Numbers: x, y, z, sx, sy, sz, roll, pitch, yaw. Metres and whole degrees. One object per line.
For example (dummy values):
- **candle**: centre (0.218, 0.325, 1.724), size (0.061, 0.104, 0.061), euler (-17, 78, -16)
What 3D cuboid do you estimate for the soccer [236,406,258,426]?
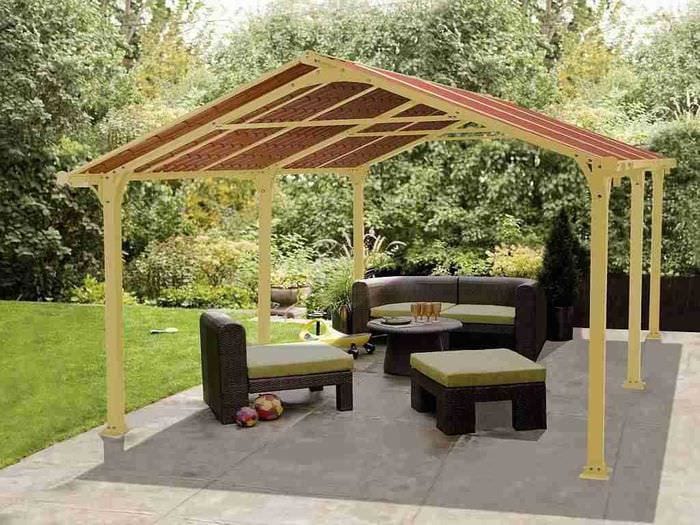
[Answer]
- **soccer**: centre (-1.050, 1.549, 6.559), size (0.221, 0.176, 0.175), euler (-1, 7, -10)

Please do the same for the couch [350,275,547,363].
- **couch**: centre (1.620, 0.662, 9.744), size (3.138, 1.125, 1.524), euler (6, 7, 28)

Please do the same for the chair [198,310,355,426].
- **chair**: centre (-0.805, 1.077, 6.966), size (1.434, 1.052, 0.661), euler (-2, 8, -18)

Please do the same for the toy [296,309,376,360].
- **toy**: centre (-0.242, 1.035, 9.402), size (1.075, 0.492, 0.600), euler (3, 3, 15)

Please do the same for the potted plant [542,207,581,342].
- **potted plant**: centre (3.473, 0.223, 10.775), size (0.824, 2.250, 0.616), euler (0, 8, 7)

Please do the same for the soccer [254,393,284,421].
- **soccer**: centre (-0.863, 1.485, 6.731), size (0.282, 0.252, 0.259), euler (-2, 0, -14)

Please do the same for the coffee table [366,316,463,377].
- **coffee table**: centre (0.823, 1.108, 8.580), size (1.338, 0.615, 1.372), euler (1, 1, 42)
